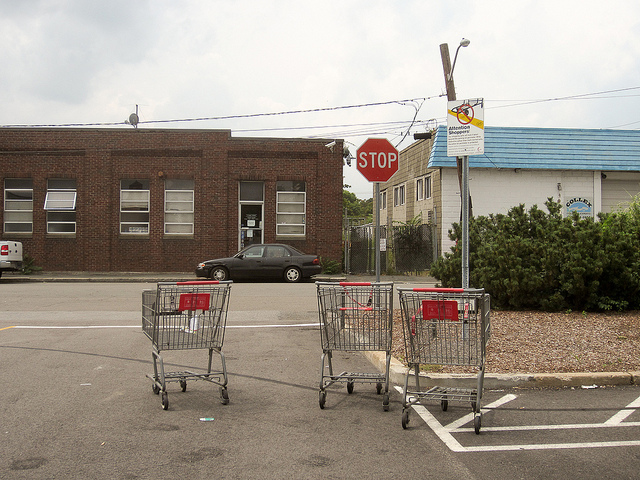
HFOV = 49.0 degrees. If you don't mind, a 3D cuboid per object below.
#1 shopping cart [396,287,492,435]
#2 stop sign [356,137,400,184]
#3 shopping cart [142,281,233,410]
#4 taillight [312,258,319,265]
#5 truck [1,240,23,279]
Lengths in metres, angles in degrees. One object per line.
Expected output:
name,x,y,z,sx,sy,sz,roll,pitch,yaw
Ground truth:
shopping cart,1.594,1.402,9.118,0.956,1.762,1.965,-2,-3,9
stop sign,1.059,-1.446,12.829,0.736,0.805,0.421,-2,4,-4
shopping cart,-1.895,1.318,9.643,0.903,1.725,1.822,1,-4,-26
taillight,-0.142,0.799,25.890,0.129,0.217,0.195,6,3,-12
truck,-11.148,0.572,25.395,0.341,1.102,1.188,-2,4,0
